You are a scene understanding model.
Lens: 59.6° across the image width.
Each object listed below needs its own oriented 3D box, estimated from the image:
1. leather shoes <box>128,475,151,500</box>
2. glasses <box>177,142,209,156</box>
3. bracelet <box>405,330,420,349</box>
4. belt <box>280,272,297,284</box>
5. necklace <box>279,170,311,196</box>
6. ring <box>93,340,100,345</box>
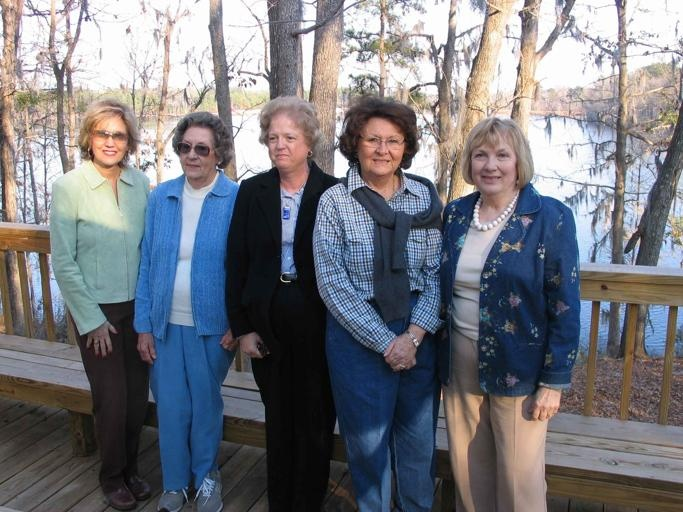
[{"bbox_3d":[-1.426,1.656,4.225,0.101,0.085,0.194,-5,9,-43],"label":"leather shoes"},{"bbox_3d":[-0.987,-0.709,3.975,0.217,0.088,0.069,5,12,17],"label":"glasses"},{"bbox_3d":[0.429,0.492,3.516,0.091,0.041,0.100,35,22,-55],"label":"bracelet"},{"bbox_3d":[-0.335,0.142,3.765,0.085,0.061,0.031,0,2,7],"label":"belt"},{"bbox_3d":[-0.311,-0.476,3.867,0.138,0.113,0.142,4,13,11],"label":"necklace"},{"bbox_3d":[-1.652,0.588,4.041,0.035,0.036,0.021,-9,18,-24],"label":"ring"}]
